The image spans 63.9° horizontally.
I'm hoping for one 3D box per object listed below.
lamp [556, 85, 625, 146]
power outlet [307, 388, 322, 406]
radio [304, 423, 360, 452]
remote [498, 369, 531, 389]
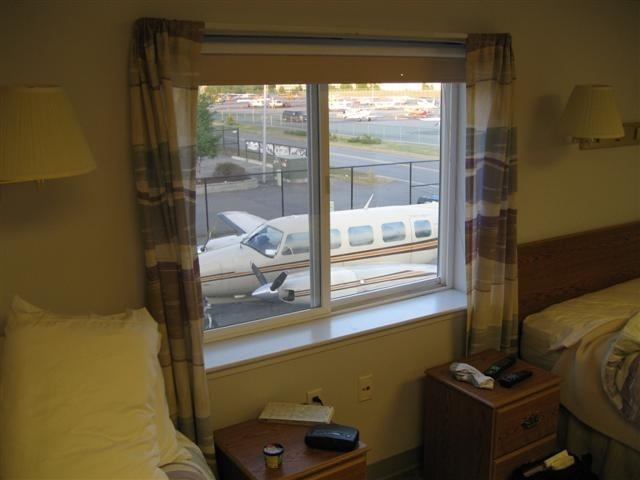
[{"bbox_3d":[1.472,-0.686,2.763,0.303,0.280,0.144,2,13,23],"label":"lamp"},{"bbox_3d":[-0.029,0.734,2.413,0.074,0.072,0.070,-5,33,-11],"label":"power outlet"},{"bbox_3d":[0.044,0.803,2.087,0.220,0.072,0.104,-1,13,6],"label":"radio"},{"bbox_3d":[0.930,0.651,2.454,0.139,0.034,0.069,-10,13,-29],"label":"remote"}]
